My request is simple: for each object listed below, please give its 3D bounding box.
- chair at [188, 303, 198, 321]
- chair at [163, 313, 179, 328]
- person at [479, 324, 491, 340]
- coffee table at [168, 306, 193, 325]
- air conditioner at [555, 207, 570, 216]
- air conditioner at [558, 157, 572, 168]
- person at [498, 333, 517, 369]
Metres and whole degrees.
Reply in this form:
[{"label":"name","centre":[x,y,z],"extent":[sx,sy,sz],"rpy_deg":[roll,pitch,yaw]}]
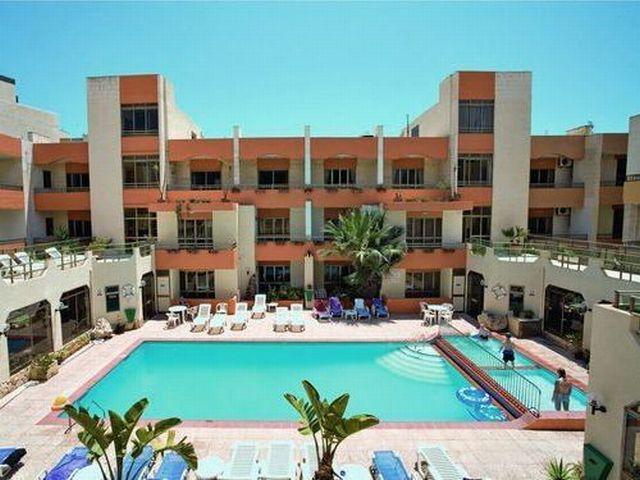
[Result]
[{"label":"chair","centre":[-7.677,4.377,30.892],"extent":[0.741,1.070,0.902],"rpy_deg":[5,-2,-10]},{"label":"chair","centre":[-8.550,4.692,29.644],"extent":[0.716,0.765,1.438],"rpy_deg":[-3,0,-17]},{"label":"person","centre":[8.906,4.988,27.462],"extent":[0.420,0.241,0.768],"rpy_deg":[11,-36,31]},{"label":"coffee table","centre":[-8.271,4.408,30.426],"extent":[1.118,0.775,1.182],"rpy_deg":[1,1,2]},{"label":"air conditioner","centre":[17.134,-1.978,36.008],"extent":[0.602,0.427,0.661],"rpy_deg":[1,-2,2]},{"label":"air conditioner","centre":[17.103,-5.402,35.652],"extent":[1.038,0.719,0.392],"rpy_deg":[-3,1,-18]},{"label":"person","centre":[8.895,5.270,24.204],"extent":[0.600,1.578,2.279],"rpy_deg":[-2,0,21]}]
